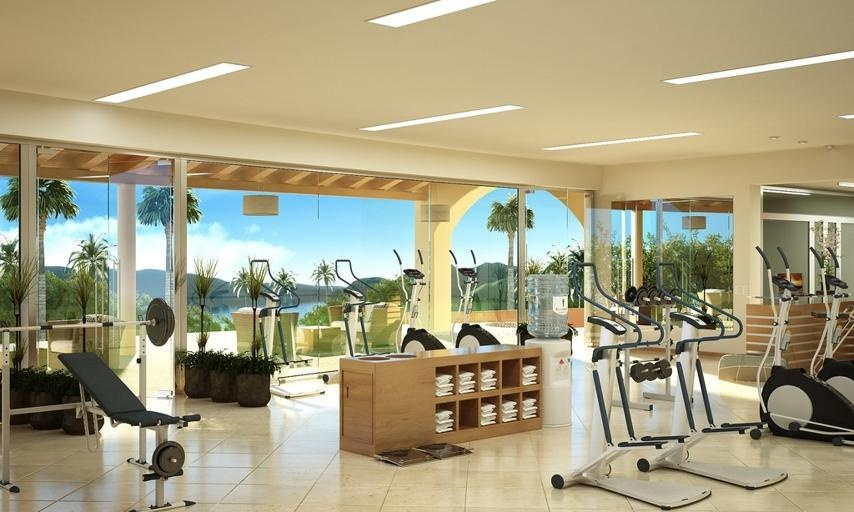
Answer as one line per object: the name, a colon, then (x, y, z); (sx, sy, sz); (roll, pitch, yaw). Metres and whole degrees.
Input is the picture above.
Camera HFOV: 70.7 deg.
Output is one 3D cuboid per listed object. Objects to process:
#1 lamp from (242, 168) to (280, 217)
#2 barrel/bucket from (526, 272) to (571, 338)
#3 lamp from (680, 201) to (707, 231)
lamp: (-2.665, -0.974, 9.606); (0.722, 0.713, 0.709); (0, -1, 33)
barrel/bucket: (1.546, 0.655, 7.759); (0.493, 0.893, 0.595); (1, 6, 10)
lamp: (5.619, -0.804, 12.362); (0.566, 0.564, 0.566); (3, 5, 41)
